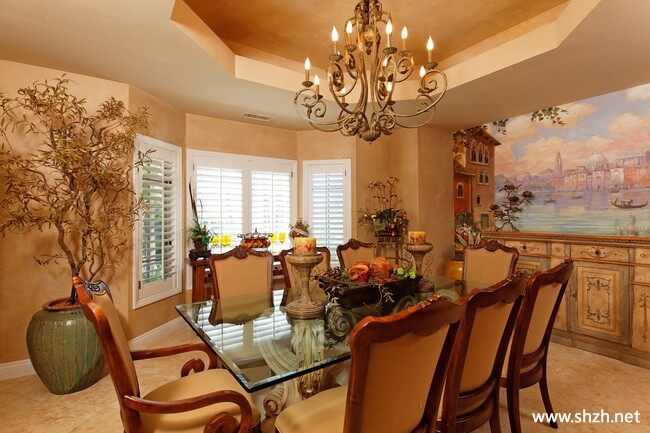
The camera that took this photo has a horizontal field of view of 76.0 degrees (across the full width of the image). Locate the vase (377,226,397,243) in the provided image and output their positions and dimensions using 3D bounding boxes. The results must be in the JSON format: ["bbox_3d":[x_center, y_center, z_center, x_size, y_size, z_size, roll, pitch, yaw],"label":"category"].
[{"bbox_3d":[0.904,0.268,5.978,0.217,0.181,0.299,-1,-2,8],"label":"vase"}]

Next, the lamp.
[{"bbox_3d":[0.471,-1.633,4.516,1.419,2.011,1.405,1,-9,1],"label":"lamp"}]

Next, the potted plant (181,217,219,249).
[{"bbox_3d":[-1.685,0.235,5.550,0.476,0.356,0.324,2,-2,-20],"label":"potted plant"}]

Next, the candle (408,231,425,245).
[{"bbox_3d":[0.873,0.207,3.984,0.183,0.127,0.183,-1,-3,8],"label":"candle"}]
